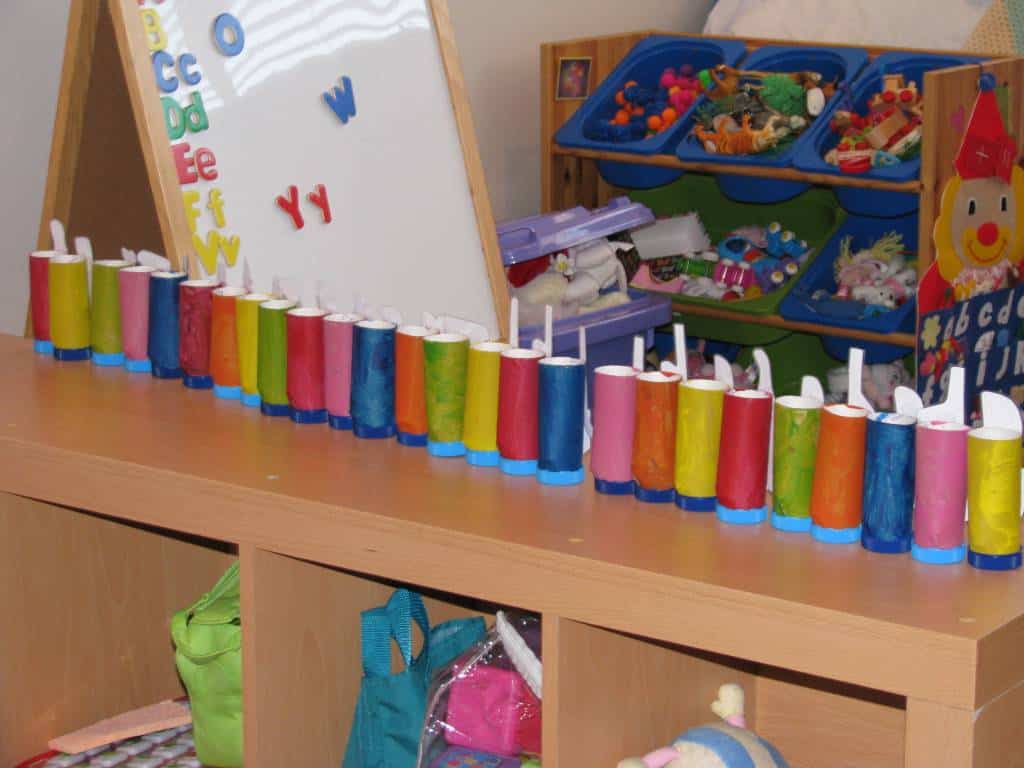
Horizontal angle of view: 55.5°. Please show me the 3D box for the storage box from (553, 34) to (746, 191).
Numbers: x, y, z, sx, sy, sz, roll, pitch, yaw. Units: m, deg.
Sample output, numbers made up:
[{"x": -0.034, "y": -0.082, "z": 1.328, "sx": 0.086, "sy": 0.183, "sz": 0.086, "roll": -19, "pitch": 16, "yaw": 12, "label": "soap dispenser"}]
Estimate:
[{"x": 0.542, "y": -1.138, "z": 3.735, "sx": 0.515, "sy": 0.255, "sz": 0.863, "roll": 6, "pitch": 53, "yaw": 29, "label": "storage box"}]

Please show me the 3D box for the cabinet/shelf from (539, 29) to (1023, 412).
[{"x": 0.882, "y": -0.531, "z": 3.078, "sx": 1.147, "sy": 0.878, "sz": 0.430, "roll": 19, "pitch": 35, "yaw": 36, "label": "cabinet/shelf"}]
